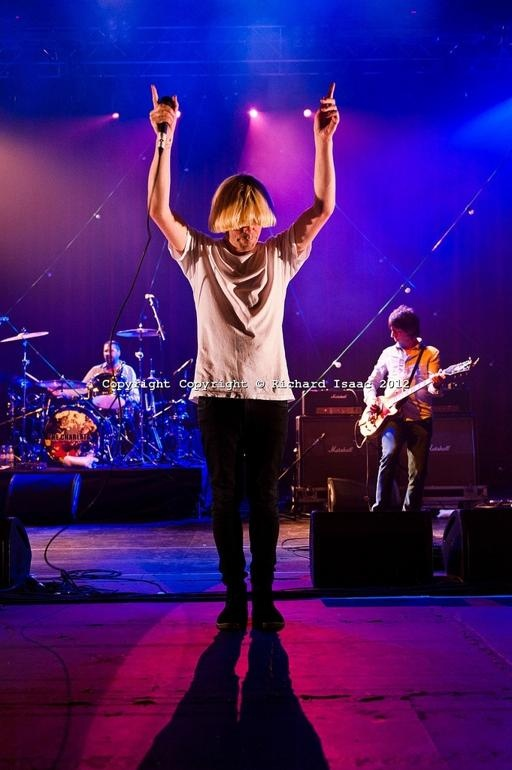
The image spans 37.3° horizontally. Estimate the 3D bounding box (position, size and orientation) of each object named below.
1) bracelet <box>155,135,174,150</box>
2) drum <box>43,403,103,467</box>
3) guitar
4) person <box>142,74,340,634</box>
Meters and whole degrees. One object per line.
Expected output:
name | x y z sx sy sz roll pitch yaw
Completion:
bracelet | -0.252 -0.652 2.054 0.029 0.041 0.043 1 -14 1
drum | -1.287 0.376 5.213 0.305 0.407 0.374 4 -27 -16
guitar | 0.833 0.091 4.209 0.264 0.403 0.771 0 -1 -34
person | -0.024 -0.076 2.194 0.554 1.300 0.325 -1 0 -11
